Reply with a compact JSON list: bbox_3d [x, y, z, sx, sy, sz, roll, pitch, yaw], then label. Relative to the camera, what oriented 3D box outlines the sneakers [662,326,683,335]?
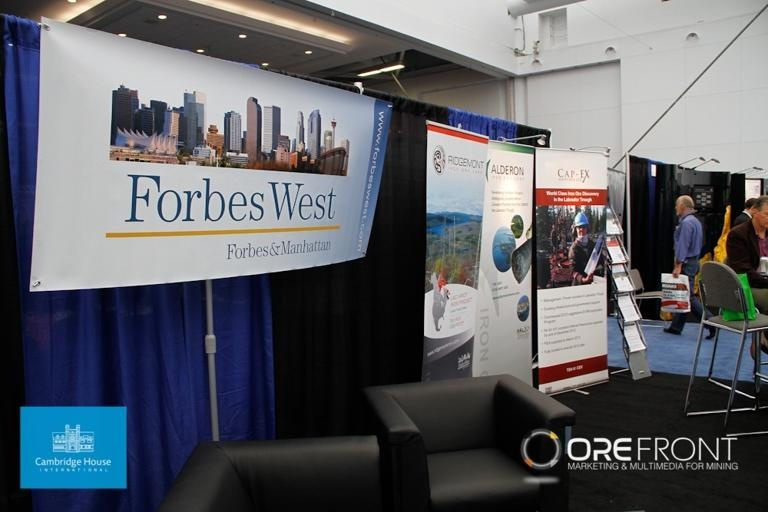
[{"bbox_3d":[3.713,0.971,7.503,0.073,0.094,0.210,-4,13,-34],"label":"sneakers"}]

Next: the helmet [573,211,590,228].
[{"bbox_3d":[1.838,-0.331,5.430,0.105,0.101,0.152,-13,0,12],"label":"helmet"}]

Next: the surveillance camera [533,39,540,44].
[{"bbox_3d":[2.674,-3.721,10.191,0.090,0.063,0.032,0,4,4],"label":"surveillance camera"}]
